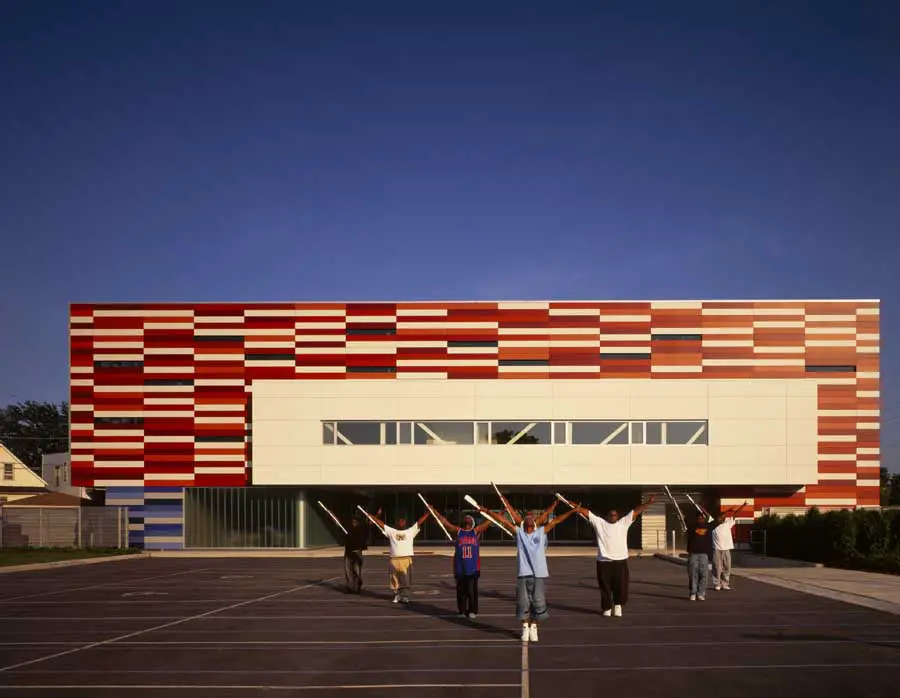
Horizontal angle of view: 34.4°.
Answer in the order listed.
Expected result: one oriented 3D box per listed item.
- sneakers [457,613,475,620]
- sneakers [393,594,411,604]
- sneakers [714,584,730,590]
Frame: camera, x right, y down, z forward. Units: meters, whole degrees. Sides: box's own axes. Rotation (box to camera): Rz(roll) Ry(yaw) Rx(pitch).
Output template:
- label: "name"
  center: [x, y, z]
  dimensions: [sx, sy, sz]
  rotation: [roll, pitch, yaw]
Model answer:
- label: "sneakers"
  center: [0.403, 6.938, 37.787]
  dimensions: [0.456, 0.163, 0.156]
  rotation: [-4, -6, 35]
- label: "sneakers"
  center: [-1.390, 6.915, 40.245]
  dimensions: [0.205, 0.236, 0.588]
  rotation: [1, -3, 6]
- label: "sneakers"
  center: [7.936, 6.962, 42.561]
  dimensions: [0.369, 0.225, 0.112]
  rotation: [-5, 28, 2]
